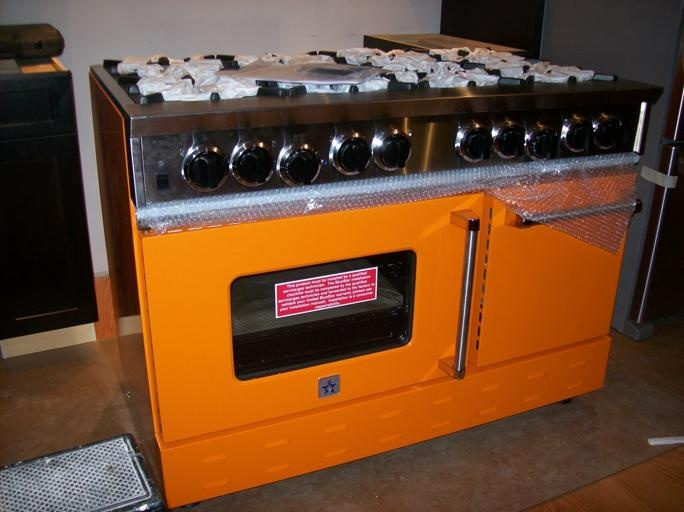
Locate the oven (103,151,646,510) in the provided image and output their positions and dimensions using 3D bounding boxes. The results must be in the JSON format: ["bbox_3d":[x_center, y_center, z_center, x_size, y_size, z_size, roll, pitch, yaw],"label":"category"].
[{"bbox_3d":[-0.006,-0.196,1.779,1.571,1.023,0.979,-8,27,-19],"label":"oven"}]
